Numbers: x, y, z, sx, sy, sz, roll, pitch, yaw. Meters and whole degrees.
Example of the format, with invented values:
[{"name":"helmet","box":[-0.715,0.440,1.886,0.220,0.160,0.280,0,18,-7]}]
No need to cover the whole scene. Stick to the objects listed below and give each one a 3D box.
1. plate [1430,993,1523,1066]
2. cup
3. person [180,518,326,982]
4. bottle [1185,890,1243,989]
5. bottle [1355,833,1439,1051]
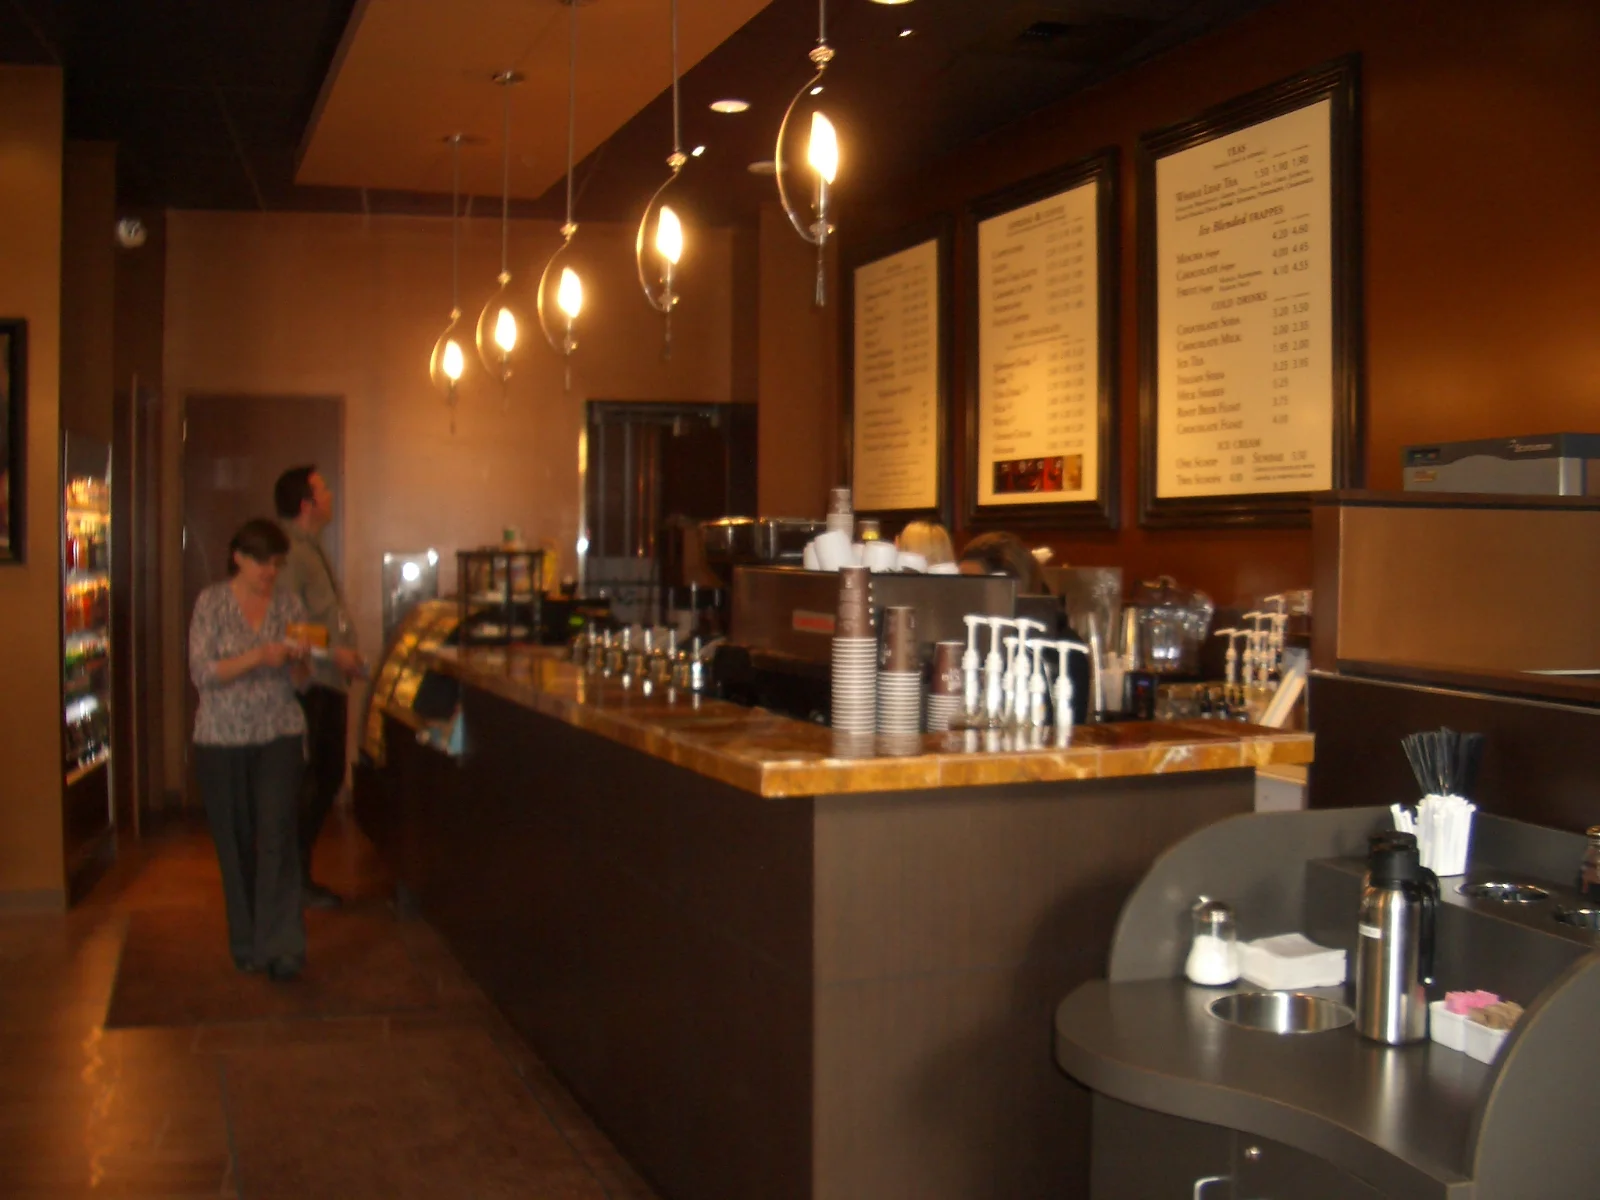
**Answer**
[{"name":"plate","box":[1.243,0.778,2.467,0.119,0.100,0.150,-3,4,-43]},{"name":"cup","box":[0.191,0.124,3.349,0.214,0.394,0.256,0,3,2]},{"name":"person","box":[-2.186,0.605,5.368,0.439,1.817,0.364,-1,3,-22]},{"name":"bottle","box":[0.860,0.719,2.779,0.149,0.183,0.125,5,-6,-32]},{"name":"bottle","box":[1.131,0.636,2.533,0.139,0.364,0.181,1,3,26]}]
